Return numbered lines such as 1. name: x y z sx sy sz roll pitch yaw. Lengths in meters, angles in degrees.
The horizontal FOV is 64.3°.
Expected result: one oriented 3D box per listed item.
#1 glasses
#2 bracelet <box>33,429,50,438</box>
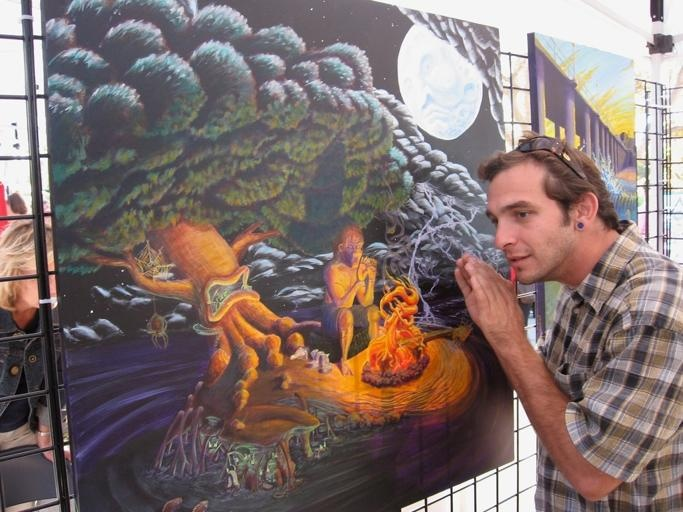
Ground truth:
1. glasses: 0.691 -0.306 1.819 0.172 0.052 0.180 33 -5 -16
2. bracelet: -0.987 0.585 1.798 0.041 0.020 0.019 -1 -2 -32
